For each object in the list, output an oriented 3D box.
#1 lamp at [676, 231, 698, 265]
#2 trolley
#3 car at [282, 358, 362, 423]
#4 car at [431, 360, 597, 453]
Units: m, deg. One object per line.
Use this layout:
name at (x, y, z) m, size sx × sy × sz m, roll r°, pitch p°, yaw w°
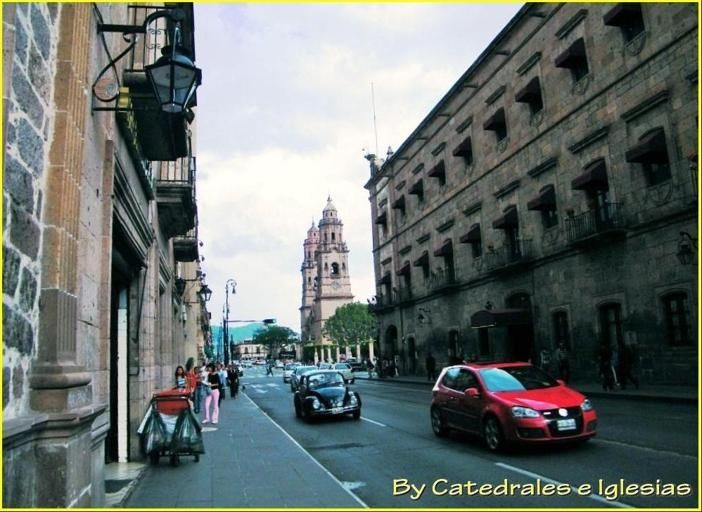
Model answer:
lamp at (10.880, -0.260, 21.452) m, size 0.534 × 1.167 × 0.654 m, roll -8°, pitch -13°, yaw 22°
trolley at (-3.797, 3.609, 14.223) m, size 1.240 × 1.563 × 1.461 m, roll 2°, pitch -2°, yaw -4°
car at (-0.761, 4.425, 21.169) m, size 1.678 × 1.653 × 2.280 m, roll 2°, pitch -13°, yaw -20°
car at (3.304, 3.334, 14.680) m, size 1.749 × 1.299 × 3.162 m, roll 3°, pitch -17°, yaw -21°
